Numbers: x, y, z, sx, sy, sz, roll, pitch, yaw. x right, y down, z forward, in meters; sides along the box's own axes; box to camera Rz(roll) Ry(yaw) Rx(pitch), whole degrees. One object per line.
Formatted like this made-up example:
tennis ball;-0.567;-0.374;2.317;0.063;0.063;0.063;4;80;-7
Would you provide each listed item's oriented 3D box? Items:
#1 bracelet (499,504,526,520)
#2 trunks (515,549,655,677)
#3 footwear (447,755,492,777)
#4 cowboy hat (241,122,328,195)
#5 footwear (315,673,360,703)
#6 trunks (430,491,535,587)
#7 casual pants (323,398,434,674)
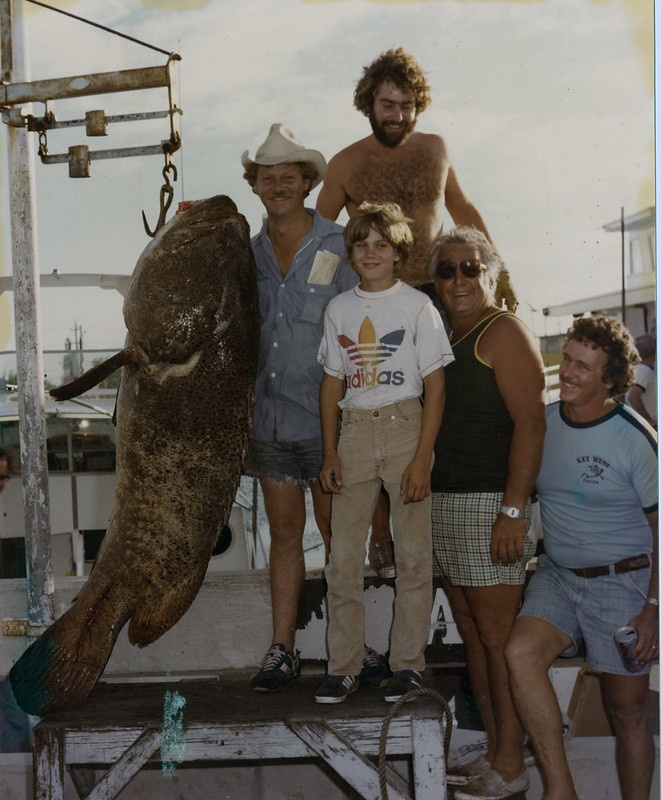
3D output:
bracelet;0.723;0.447;4.776;0.084;0.039;0.071;3;-3;13
trunks;1.033;0.853;4.810;0.640;0.445;0.327;4;-10;27
footwear;0.594;1.605;5.200;0.216;0.066;0.068;-9;-2;-29
cowboy hat;-0.153;-1.049;5.076;0.206;0.253;0.357;2;4;39
footwear;0.023;1.116;4.647;0.107;0.096;0.211;1;3;21
trunks;0.550;0.598;5.015;0.459;0.345;0.566;5;-11;-15
casual pants;0.191;0.541;4.737;0.416;1.085;0.312;0;4;4
